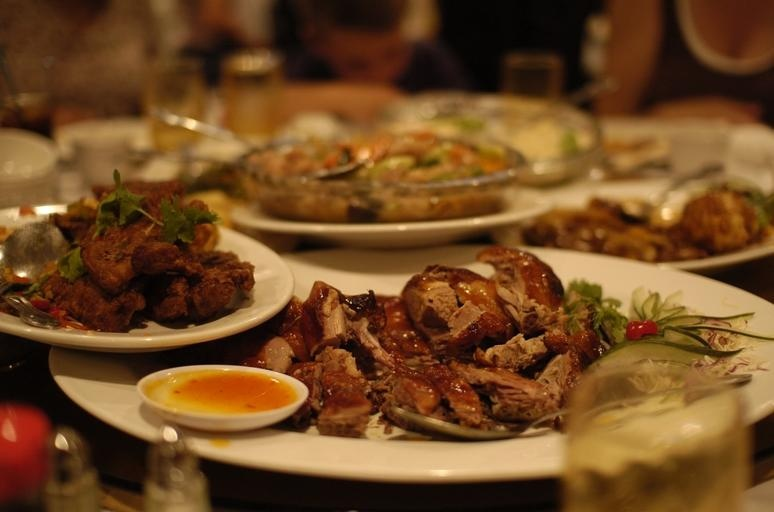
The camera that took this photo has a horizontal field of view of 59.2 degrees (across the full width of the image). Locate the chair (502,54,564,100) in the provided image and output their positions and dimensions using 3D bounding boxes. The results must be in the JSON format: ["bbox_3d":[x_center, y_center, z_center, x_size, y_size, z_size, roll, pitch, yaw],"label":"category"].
[{"bbox_3d":[0.866,-1.068,4.099,0.436,0.244,0.418,-1,13,-14],"label":"chair"}]
